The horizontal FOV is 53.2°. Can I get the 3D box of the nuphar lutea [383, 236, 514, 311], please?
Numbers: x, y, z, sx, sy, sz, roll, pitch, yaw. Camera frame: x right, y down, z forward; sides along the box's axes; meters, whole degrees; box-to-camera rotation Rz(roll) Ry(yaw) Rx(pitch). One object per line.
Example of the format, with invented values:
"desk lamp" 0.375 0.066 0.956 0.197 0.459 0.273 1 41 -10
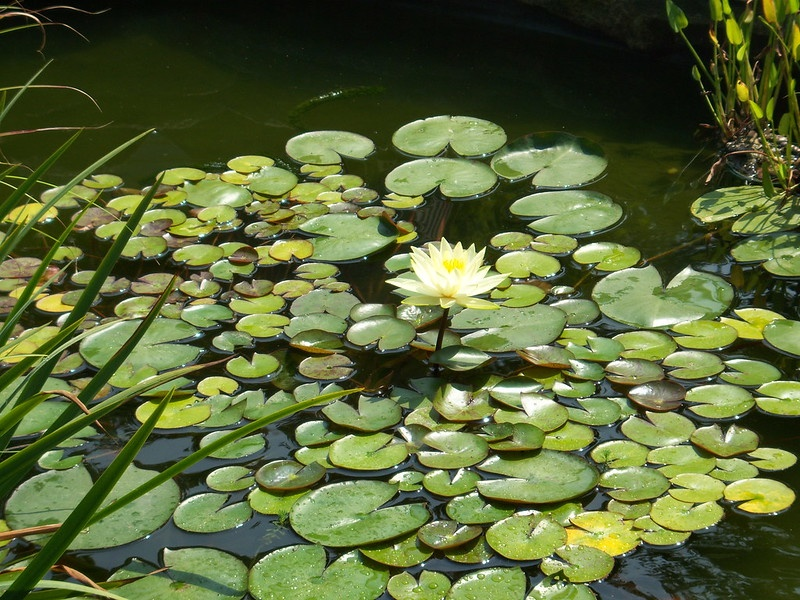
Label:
"nuphar lutea" 0.167 -0.066 2.704 0.481 0.124 0.316 -2 28 0
